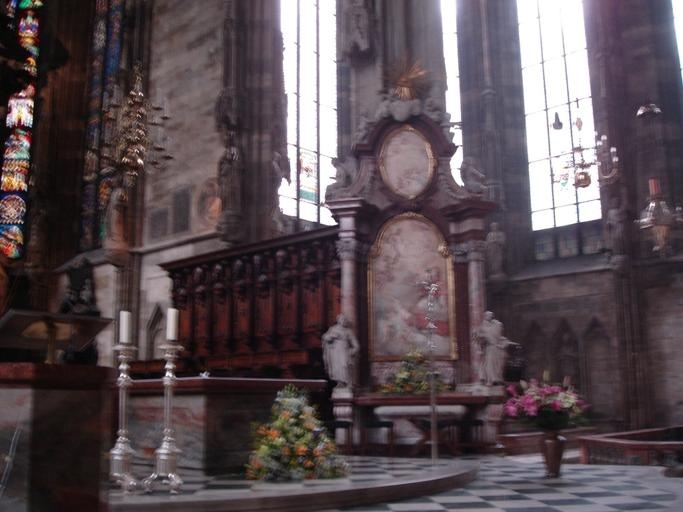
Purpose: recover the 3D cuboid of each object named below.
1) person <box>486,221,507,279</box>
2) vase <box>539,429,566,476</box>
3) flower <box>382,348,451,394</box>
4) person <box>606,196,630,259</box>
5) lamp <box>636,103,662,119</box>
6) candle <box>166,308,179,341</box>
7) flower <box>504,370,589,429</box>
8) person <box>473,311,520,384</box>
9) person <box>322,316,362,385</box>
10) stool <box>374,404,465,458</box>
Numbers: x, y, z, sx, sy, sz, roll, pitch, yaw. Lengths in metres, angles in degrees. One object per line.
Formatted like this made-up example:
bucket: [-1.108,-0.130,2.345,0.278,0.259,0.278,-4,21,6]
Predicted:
person: [4.401,-0.124,24.743,0.552,1.576,0.486,1,-12,-9]
vase: [3.535,3.280,14.445,0.401,0.743,0.596,-3,-11,11]
flower: [1.497,2.394,17.583,1.217,0.619,0.857,9,-22,-19]
person: [6.909,-0.735,21.816,0.225,1.533,0.617,8,-14,-35]
lamp: [7.382,-3.558,20.895,0.575,0.170,0.569,-3,-2,19]
candle: [-2.373,0.955,12.201,0.148,0.470,0.311,2,-12,-15]
flower: [3.560,2.562,14.519,1.250,0.762,1.273,9,-22,-27]
person: [3.008,1.828,17.266,0.810,1.479,0.469,-6,-13,23]
person: [-0.020,1.912,17.462,0.702,1.408,0.268,-2,-12,6]
stool: [1.616,3.207,16.961,1.625,0.698,1.002,-1,-10,8]
